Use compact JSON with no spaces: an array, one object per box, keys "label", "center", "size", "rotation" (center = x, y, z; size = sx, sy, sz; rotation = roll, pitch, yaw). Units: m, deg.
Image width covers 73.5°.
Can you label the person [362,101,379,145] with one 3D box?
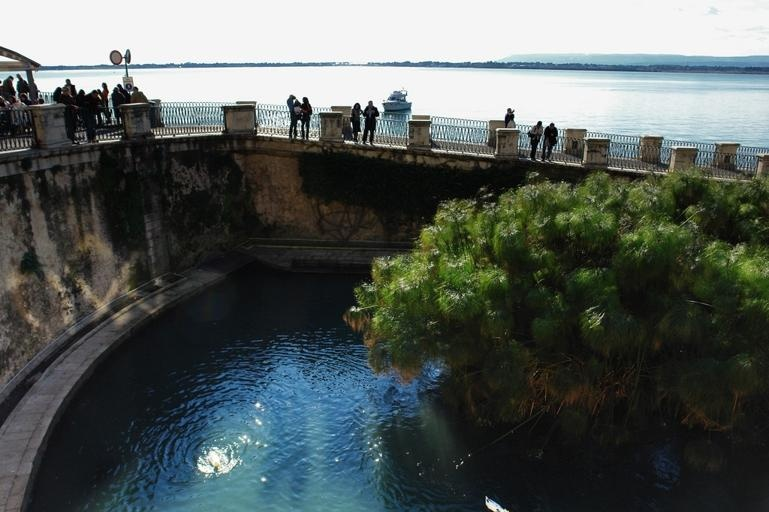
[{"label":"person","center":[-0.630,-5.802,22.277],"size":[0.658,1.758,1.024],"rotation":[0,18,-1]}]

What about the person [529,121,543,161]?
[{"label":"person","center":[6.253,-4.834,21.380],"size":[0.555,1.529,1.100],"rotation":[7,19,18]}]

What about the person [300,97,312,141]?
[{"label":"person","center":[-3.445,-6.074,22.605],"size":[0.488,1.776,0.788],"rotation":[-2,18,-9]}]

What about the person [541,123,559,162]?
[{"label":"person","center":[6.856,-4.775,21.329],"size":[0.560,1.492,1.010],"rotation":[6,19,17]}]

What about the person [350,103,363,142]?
[{"label":"person","center":[-1.233,-5.893,22.484],"size":[0.500,1.615,0.811],"rotation":[-1,18,-5]}]

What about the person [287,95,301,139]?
[{"label":"person","center":[-3.940,-6.075,22.478],"size":[0.559,1.885,0.751],"rotation":[-7,19,-23]}]
